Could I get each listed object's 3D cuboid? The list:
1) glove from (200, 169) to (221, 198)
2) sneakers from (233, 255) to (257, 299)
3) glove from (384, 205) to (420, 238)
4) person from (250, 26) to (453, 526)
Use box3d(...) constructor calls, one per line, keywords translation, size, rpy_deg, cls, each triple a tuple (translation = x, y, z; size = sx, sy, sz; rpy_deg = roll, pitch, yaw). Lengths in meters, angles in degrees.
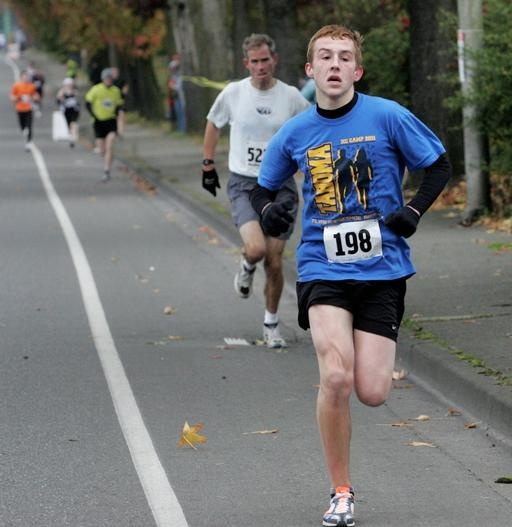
box3d(translation=(-0.350, -0.613, 7.108), size=(0.146, 0.192, 0.076), rpy_deg=(-10, 12, -19), cls="glove")
box3d(translation=(-0.089, 0.021, 7.258), size=(0.127, 0.162, 0.374), rpy_deg=(17, 36, -21), cls="sneakers")
box3d(translation=(0.577, -0.171, 3.769), size=(0.137, 0.118, 0.124), rpy_deg=(-1, 10, 9), cls="glove")
box3d(translation=(0.408, -0.015, 3.914), size=(0.729, 1.940, 0.826), rpy_deg=(-3, 9, -8), cls="person")
